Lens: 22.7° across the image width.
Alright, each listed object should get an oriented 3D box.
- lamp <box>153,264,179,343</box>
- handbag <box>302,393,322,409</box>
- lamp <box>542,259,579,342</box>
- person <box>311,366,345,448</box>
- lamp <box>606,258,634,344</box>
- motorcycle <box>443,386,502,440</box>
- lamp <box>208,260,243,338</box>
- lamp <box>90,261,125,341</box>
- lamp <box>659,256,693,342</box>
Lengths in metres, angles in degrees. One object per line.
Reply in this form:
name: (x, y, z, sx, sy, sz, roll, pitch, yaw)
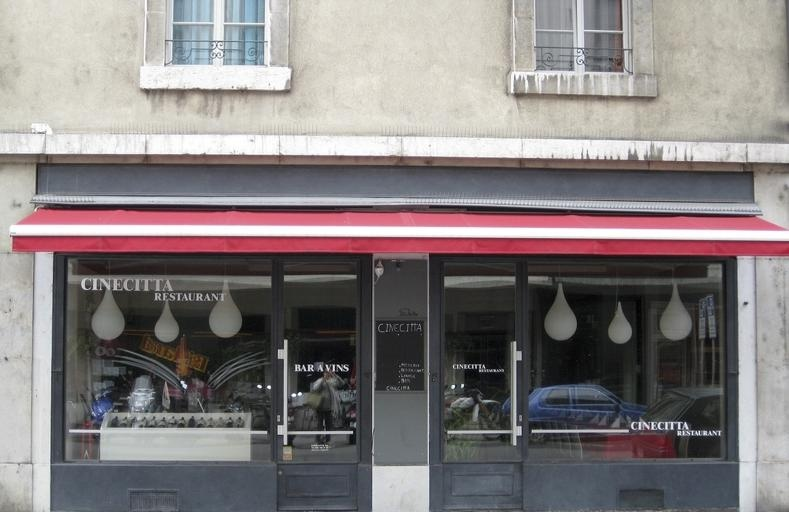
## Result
lamp: (-3.512, 0.906, 30.583, 0.395, 0.942, 0.171, -1, -10, -7)
handbag: (-1.248, 2.273, 30.527, 0.198, 0.198, 0.091, 16, 1, 3)
lamp: (2.577, 0.876, 30.735, 0.439, 0.950, 0.180, -3, -10, 2)
person: (-1.016, 2.335, 30.513, 0.483, 1.208, 0.116, -3, -10, 3)
lamp: (3.545, 0.827, 30.870, 0.282, 1.168, 0.268, 7, -14, -44)
motorcycle: (1.241, 2.473, 30.907, 1.080, 0.632, 0.514, -1, -4, -5)
lamp: (-2.562, 0.835, 30.797, 0.672, 0.988, 0.656, 5, -5, -3)
lamp: (-4.456, 0.912, 30.781, 0.501, 1.015, 0.484, 2, -20, -6)
lamp: (4.414, 0.798, 30.815, 0.519, 1.109, 0.166, -4, -10, 7)
